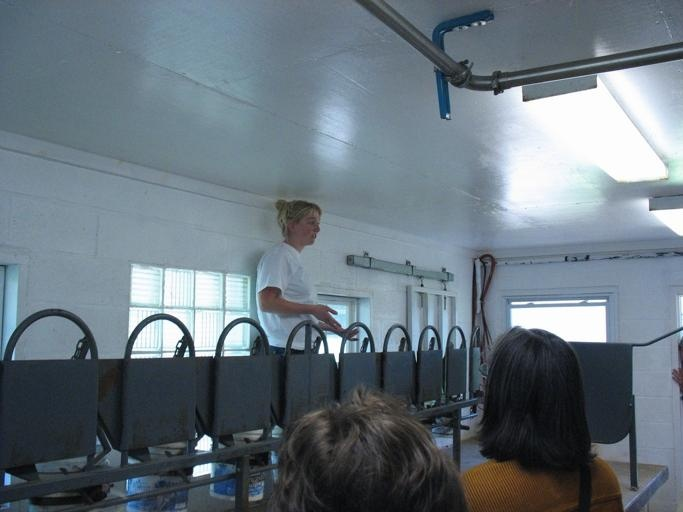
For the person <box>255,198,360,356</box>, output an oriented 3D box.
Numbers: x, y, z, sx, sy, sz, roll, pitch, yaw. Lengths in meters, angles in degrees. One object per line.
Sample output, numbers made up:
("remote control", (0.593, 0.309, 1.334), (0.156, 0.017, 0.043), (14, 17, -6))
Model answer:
("person", (-0.219, 0.202, 3.383), (0.612, 1.220, 0.626), (-3, -13, 17))
